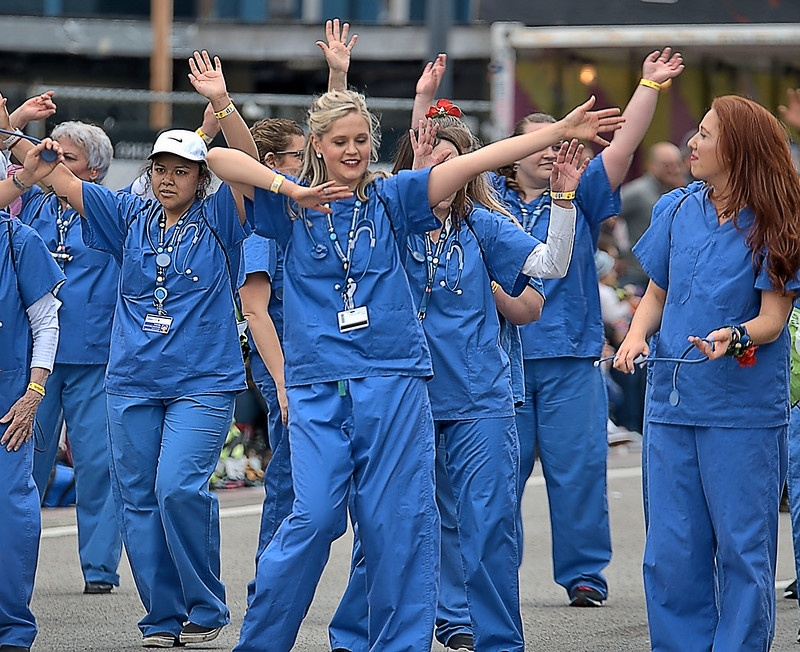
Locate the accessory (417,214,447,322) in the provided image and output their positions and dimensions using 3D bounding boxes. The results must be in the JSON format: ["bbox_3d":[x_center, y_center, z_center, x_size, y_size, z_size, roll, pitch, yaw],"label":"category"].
[{"bbox_3d":[0.160,-0.289,9.320,0.122,0.467,0.051,12,-8,24],"label":"accessory"}]

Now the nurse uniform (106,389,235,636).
[{"bbox_3d":[-1.157,0.972,9.594,0.651,1.247,0.309,-2,6,-9],"label":"nurse uniform"}]

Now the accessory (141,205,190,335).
[{"bbox_3d":[-1.235,-0.298,9.619,0.217,0.657,0.220,3,7,35],"label":"accessory"}]

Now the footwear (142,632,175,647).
[{"bbox_3d":[-1.228,1.608,9.524,0.131,0.063,0.076,0,-5,-1],"label":"footwear"}]

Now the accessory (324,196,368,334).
[{"bbox_3d":[-0.229,-0.284,8.751,0.215,0.603,0.162,-1,6,-2],"label":"accessory"}]

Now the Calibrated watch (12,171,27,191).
[{"bbox_3d":[-1.908,-0.733,9.303,0.028,0.079,0.075,-33,36,-11],"label":"Calibrated watch"}]

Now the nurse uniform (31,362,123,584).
[{"bbox_3d":[-1.829,0.830,10.585,0.335,1.532,1.196,-7,3,-2],"label":"nurse uniform"}]

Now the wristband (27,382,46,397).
[{"bbox_3d":[-1.820,0.327,9.364,0.065,0.039,0.086,28,-5,37],"label":"wristband"}]

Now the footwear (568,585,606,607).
[{"bbox_3d":[1.038,1.500,10.349,0.190,0.084,0.094,5,-37,-20],"label":"footwear"}]

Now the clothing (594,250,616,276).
[{"bbox_3d":[1.455,-0.462,13.274,0.138,0.182,0.190,-6,49,7],"label":"clothing"}]

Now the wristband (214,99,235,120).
[{"bbox_3d":[-0.873,-1.081,9.279,0.105,0.089,0.229,-2,6,-6],"label":"wristband"}]

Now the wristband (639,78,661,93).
[{"bbox_3d":[1.331,-1.290,9.891,0.119,0.072,0.089,-1,6,6],"label":"wristband"}]
